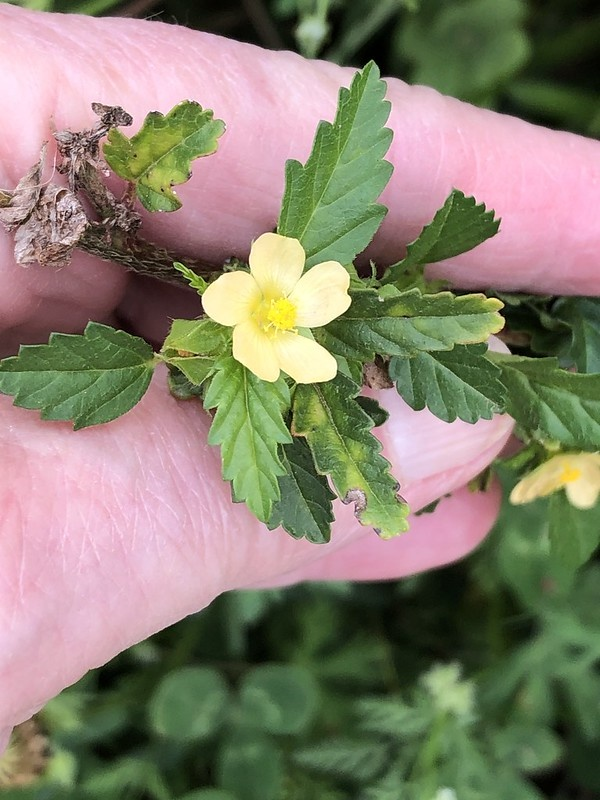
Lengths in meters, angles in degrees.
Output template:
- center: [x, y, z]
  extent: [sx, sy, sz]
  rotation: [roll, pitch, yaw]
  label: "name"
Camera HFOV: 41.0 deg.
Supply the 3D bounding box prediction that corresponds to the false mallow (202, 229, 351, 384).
- center: [-0.014, -0.087, 0.709]
  extent: [0.121, 0.113, 0.046]
  rotation: [7, 53, 18]
  label: "false mallow"
